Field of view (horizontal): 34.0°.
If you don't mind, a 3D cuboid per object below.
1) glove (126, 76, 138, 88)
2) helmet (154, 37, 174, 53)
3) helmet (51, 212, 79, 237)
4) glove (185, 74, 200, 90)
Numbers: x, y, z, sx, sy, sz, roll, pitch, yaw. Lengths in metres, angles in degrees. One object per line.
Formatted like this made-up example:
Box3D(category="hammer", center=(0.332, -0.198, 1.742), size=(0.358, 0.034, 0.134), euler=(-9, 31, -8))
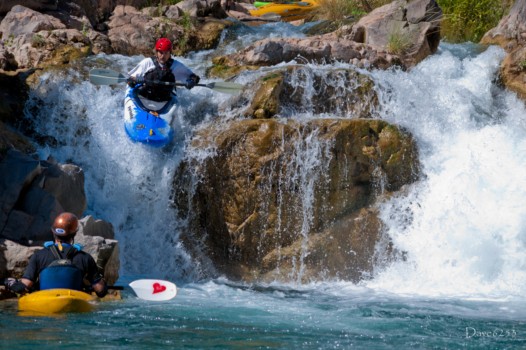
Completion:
Box3D(category="glove", center=(-3.253, -2.331, 21.472), size=(0.261, 0.306, 0.102), euler=(7, 6, -6))
Box3D(category="helmet", center=(-2.480, -3.222, 21.660), size=(0.453, 0.513, 0.599), euler=(3, 10, -2))
Box3D(category="helmet", center=(-4.144, 1.008, 18.091), size=(0.495, 0.443, 0.404), euler=(-26, 28, -12))
Box3D(category="glove", center=(-1.765, -2.358, 21.591), size=(0.278, 0.411, 0.419), euler=(4, -4, 5))
